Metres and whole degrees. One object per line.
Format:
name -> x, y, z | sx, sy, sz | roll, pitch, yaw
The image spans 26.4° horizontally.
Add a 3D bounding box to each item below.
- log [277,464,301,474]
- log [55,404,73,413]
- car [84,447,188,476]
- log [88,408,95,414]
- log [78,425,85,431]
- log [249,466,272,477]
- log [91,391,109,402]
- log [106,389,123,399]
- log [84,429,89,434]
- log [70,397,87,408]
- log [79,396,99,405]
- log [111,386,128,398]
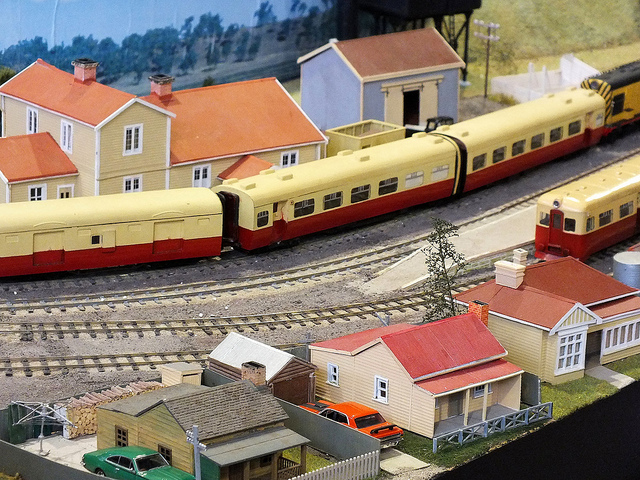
log -> -1.109, 8.284, 49.432 | 0.960, 0.179, 0.212 | -10, 18, -29
log -> -9.622, 6.324, 51.206 | 0.567, 0.272, 0.173 | 8, 20, 33
car -> -7.016, 8.005, 48.875 | 2.974, 0.687, 1.268 | 6, 11, 28
log -> -8.665, 6.457, 51.443 | 0.192, 0.275, 0.099 | -16, 22, -38
log -> -9.067, 7.091, 51.481 | 0.247, 0.261, 0.038 | -17, 22, -40
log -> -2.151, 8.308, 48.939 | 0.886, 0.217, 0.059 | -10, 18, -27
log -> -8.429, 5.962, 51.894 | 0.248, 0.149, 1.189 | -17, 24, -39
log -> -7.902, 5.889, 52.205 | 0.846, 0.150, 0.225 | 23, 47, 38
log -> -8.910, 7.241, 51.632 | 0.217, 0.177, 0.049 | 1, -3, -14
log -> -9.274, 6.087, 51.631 | 0.233, 0.273, 1.147 | -13, 20, -39
log -> -8.796, 6.053, 51.623 | 0.243, 0.134, 0.864 | 4, 6, -38
log -> -7.781, 5.850, 52.271 | 0.253, 0.171, 0.840 | -16, 23, -35
